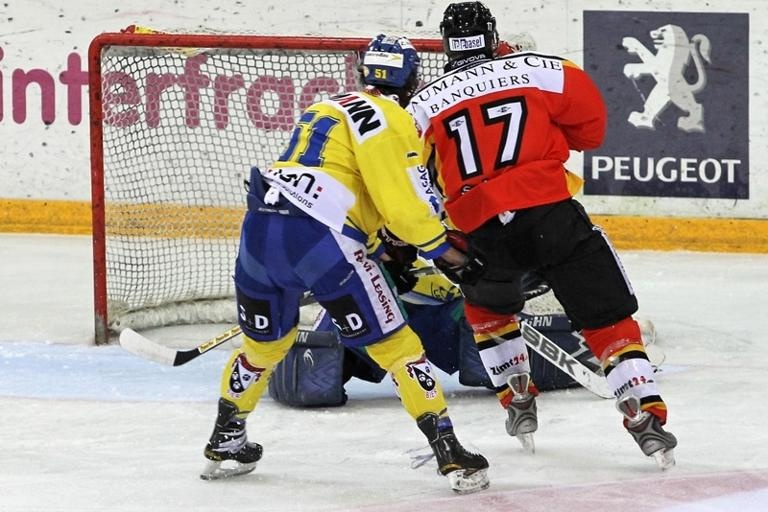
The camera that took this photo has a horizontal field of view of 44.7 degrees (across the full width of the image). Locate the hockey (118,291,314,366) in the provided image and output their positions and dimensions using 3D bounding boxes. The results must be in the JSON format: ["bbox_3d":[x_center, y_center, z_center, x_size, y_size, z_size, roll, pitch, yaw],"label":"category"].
[{"bbox_3d":[-0.937,0.418,5.191,1.078,0.226,0.093,-22,-31,28],"label":"hockey"}]

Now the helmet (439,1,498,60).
[{"bbox_3d":[0.444,-1.077,4.462,0.277,0.248,0.291,-2,17,13],"label":"helmet"}]

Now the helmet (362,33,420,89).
[{"bbox_3d":[0.024,-0.874,4.235,0.236,0.241,0.262,6,14,11],"label":"helmet"}]
